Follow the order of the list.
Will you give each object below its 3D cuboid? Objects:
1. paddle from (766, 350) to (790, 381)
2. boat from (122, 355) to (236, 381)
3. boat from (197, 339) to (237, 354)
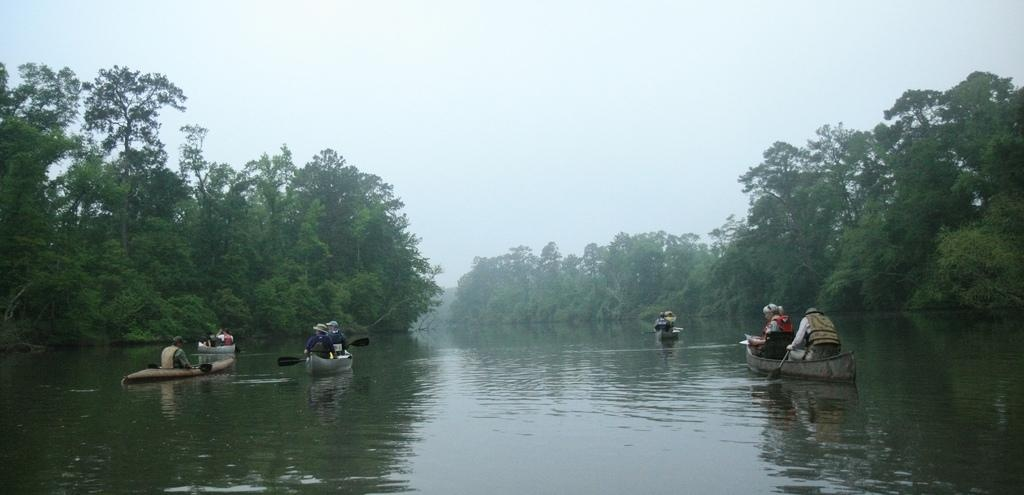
[{"bbox_3d":[23.253,10.367,67.060,0.511,3.015,0.465,25,-15,46],"label":"paddle"},{"bbox_3d":[-31.139,11.830,72.545,6.660,0.762,3.159,2,-14,-42],"label":"boat"},{"bbox_3d":[-32.863,11.303,85.232,3.938,1.133,2.498,-4,-9,18],"label":"boat"}]
